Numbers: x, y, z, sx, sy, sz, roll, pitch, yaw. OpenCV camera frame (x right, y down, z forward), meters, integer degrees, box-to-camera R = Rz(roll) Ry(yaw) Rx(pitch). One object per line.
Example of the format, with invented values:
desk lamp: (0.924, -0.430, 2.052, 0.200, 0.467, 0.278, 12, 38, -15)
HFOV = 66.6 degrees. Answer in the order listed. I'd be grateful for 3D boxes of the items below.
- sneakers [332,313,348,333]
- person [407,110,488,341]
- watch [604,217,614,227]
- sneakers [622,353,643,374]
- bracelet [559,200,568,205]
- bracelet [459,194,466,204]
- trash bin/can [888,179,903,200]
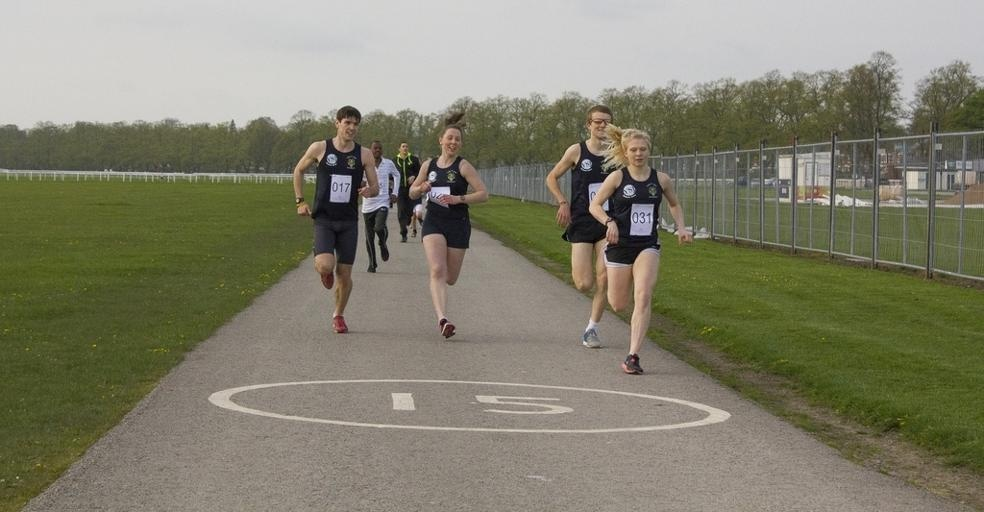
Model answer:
sneakers: (-2.491, 1.100, 12.227, 0.265, 0.273, 0.665, 0, -3, -14)
person: (-0.762, -0.435, 12.006, 0.921, 3.339, 0.949, 9, 12, 37)
watch: (1.645, -0.496, 10.564, 0.106, 0.102, 0.032, 0, 28, -24)
sneakers: (1.951, 1.483, 10.367, 0.295, 0.267, 0.211, 3, 10, 8)
bracelet: (1.068, -0.830, 11.358, 0.120, 0.084, 0.116, 6, 7, 28)
bracelet: (-0.457, -0.910, 11.850, 0.078, 0.116, 0.120, 4, 6, -1)
trash bin/can: (10.342, -1.745, 19.242, 0.393, 0.511, 0.266, -2, 6, 16)
